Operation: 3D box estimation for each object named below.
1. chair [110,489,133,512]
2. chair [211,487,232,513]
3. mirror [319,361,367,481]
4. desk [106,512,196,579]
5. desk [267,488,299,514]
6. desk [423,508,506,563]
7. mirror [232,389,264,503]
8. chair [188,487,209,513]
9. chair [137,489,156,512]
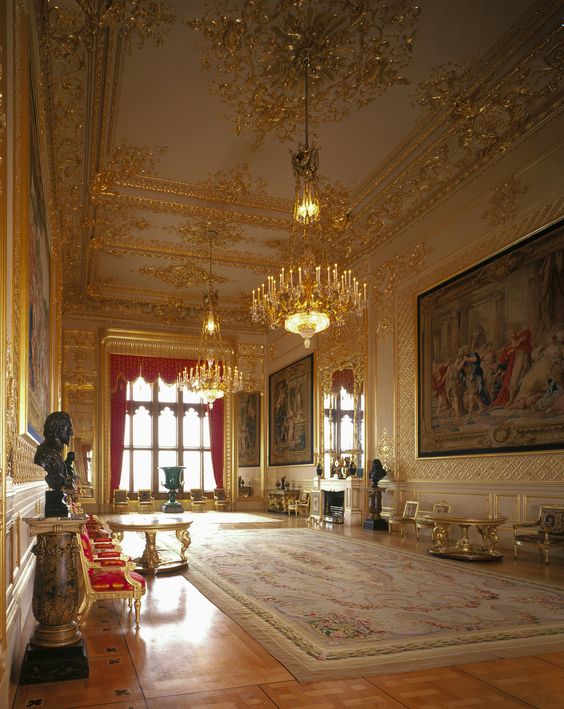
[{"bbox_3d":[-4.916,4.441,16.277,0.662,0.848,0.668,3,-11,-16],"label":"chair"},{"bbox_3d":[-1.997,4.851,17.673,0.607,0.859,0.664,2,-10,-15],"label":"chair"},{"bbox_3d":[1.549,1.665,13.108,0.137,3.006,2.743,4,-10,-18],"label":"mirror"},{"bbox_3d":[-1.640,2.699,7.014,0.881,0.437,0.843,-33,-35,11],"label":"desk"},{"bbox_3d":[0.088,4.432,16.088,0.546,0.642,0.961,6,-11,-29],"label":"desk"},{"bbox_3d":[2.652,2.706,7.820,1.132,0.541,1.123,-13,-25,42],"label":"desk"},{"bbox_3d":[-1.227,3.160,19.189,0.561,3.678,1.690,4,-11,-23],"label":"mirror"},{"bbox_3d":[-2.748,4.799,17.519,0.620,0.832,0.645,3,-9,-18],"label":"chair"},{"bbox_3d":[-4.254,4.592,16.674,0.574,0.799,0.605,3,-12,-16],"label":"chair"}]
